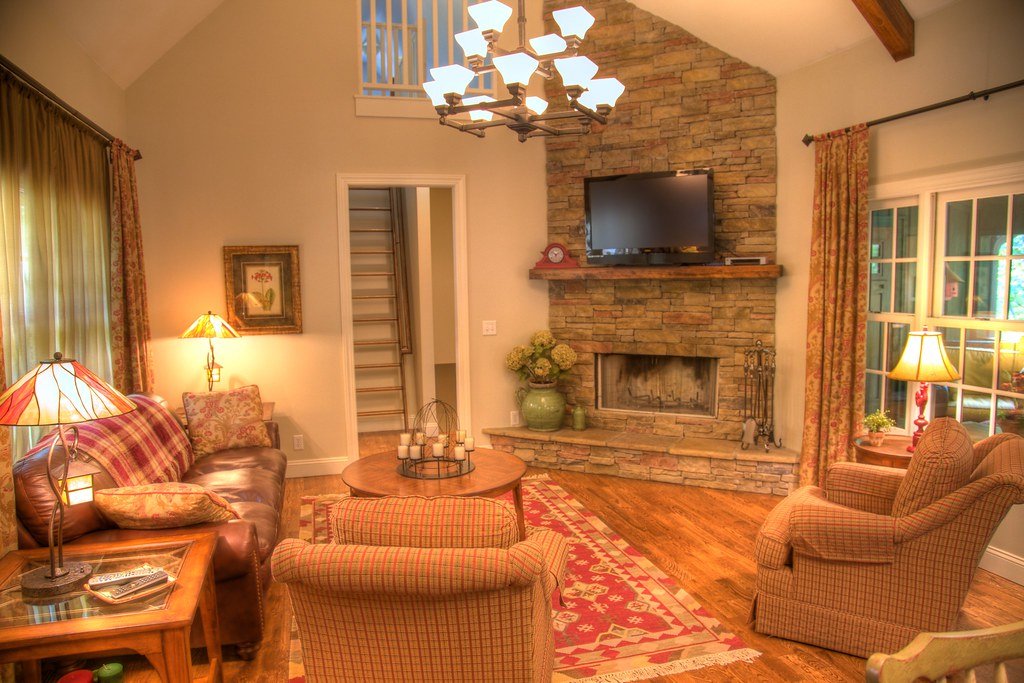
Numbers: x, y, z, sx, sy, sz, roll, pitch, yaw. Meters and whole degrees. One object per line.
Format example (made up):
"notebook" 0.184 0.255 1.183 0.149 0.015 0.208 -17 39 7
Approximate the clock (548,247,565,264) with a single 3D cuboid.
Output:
"clock" 0.429 -0.857 7.104 0.157 0.154 0.049 -1 14 2

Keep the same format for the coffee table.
"coffee table" -0.502 0.923 4.874 0.861 0.477 0.832 -2 8 -4

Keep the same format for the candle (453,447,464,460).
"candle" -0.366 0.776 4.995 0.080 0.085 0.082 -3 -3 36

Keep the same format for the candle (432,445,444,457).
"candle" -0.508 0.747 4.969 0.078 0.074 0.077 -1 4 -14

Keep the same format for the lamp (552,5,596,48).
"lamp" 0.368 -1.847 4.167 0.219 0.156 0.191 -1 3 -13

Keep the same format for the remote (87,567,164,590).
"remote" -1.918 1.164 3.570 0.223 0.029 0.116 -2 4 -24

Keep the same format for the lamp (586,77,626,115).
"lamp" 0.575 -1.559 4.552 0.219 0.173 0.237 1 3 5

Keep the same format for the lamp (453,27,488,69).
"lamp" -0.274 -1.800 4.333 0.221 0.215 0.217 -6 -2 -9

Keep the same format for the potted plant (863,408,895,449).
"potted plant" 2.593 0.628 5.164 0.257 0.260 0.211 1 -1 -3

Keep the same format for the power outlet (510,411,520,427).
"power outlet" 0.019 0.780 7.309 0.108 0.134 0.071 -3 14 -5

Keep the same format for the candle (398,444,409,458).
"candle" -0.759 0.778 5.120 0.091 0.098 0.089 1 -1 -26

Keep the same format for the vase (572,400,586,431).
"vase" 0.669 0.749 7.162 0.140 0.215 0.248 -1 14 4

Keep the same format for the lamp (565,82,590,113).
"lamp" 0.374 -1.476 4.377 0.171 0.167 0.097 -6 14 0

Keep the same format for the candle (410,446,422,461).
"candle" -0.671 0.779 5.026 0.096 0.091 0.085 0 -3 3

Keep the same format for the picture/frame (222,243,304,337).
"picture/frame" -2.334 -0.497 6.682 0.881 1.111 0.090 -2 2 -17

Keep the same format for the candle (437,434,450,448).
"candle" -0.499 0.707 5.095 0.092 0.109 0.085 3 3 15

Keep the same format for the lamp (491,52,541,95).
"lamp" 0.038 -1.552 4.210 0.212 0.155 0.191 1 3 30

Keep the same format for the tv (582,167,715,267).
"tv" 1.299 -1.153 6.662 1.020 0.712 0.073 0 6 22

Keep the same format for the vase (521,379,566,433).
"vase" 0.303 0.634 7.043 0.447 0.411 0.454 0 0 43

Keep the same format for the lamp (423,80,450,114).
"lamp" -0.455 -1.531 4.500 0.178 0.172 0.047 17 42 38

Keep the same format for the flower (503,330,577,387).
"flower" 0.287 0.183 7.145 0.701 0.542 0.396 -1 14 4

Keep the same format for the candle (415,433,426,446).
"candle" -0.682 0.723 5.342 0.083 0.086 0.080 -4 13 -22

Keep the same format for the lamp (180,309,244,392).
"lamp" -2.669 0.098 6.467 0.413 0.778 0.562 -7 15 -21

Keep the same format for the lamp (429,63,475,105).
"lamp" -0.370 -1.581 4.426 0.228 0.164 0.204 -1 2 -24

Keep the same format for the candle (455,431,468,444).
"candle" -0.360 0.678 5.136 0.081 0.076 0.080 1 -3 3

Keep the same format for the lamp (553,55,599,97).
"lamp" 0.398 -1.599 4.298 0.281 0.201 0.178 -8 15 -24

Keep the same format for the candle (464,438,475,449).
"candle" -0.300 0.731 5.154 0.077 0.076 0.076 -1 -1 3
